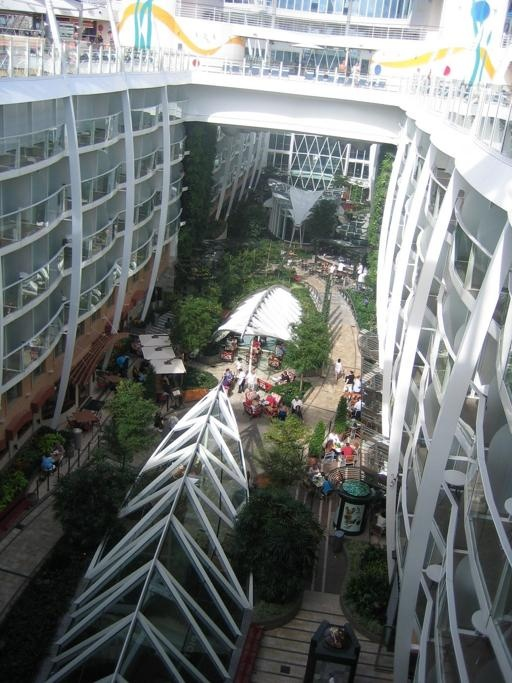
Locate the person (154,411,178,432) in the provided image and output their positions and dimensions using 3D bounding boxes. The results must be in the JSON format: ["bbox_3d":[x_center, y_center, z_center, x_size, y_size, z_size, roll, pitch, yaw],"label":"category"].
[{"bbox_3d":[-4.565,3.818,25.712,1.136,0.316,1.075,10,32,20],"label":"person"}]

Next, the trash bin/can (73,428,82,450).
[{"bbox_3d":[-7.804,4.250,22.764,0.294,0.855,0.543,-2,21,-25],"label":"trash bin/can"}]

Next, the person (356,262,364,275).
[{"bbox_3d":[10.030,-7.093,50.547,0.809,1.166,1.079,3,11,2],"label":"person"}]

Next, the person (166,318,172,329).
[{"bbox_3d":[-6.209,-1.309,36.577,0.374,0.746,0.501,0,-11,12],"label":"person"}]

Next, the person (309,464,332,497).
[{"bbox_3d":[2.702,5.751,22.056,1.034,0.660,1.735,10,20,7],"label":"person"}]

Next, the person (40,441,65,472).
[{"bbox_3d":[-8.258,4.658,21.137,0.397,0.478,1.247,6,24,-4],"label":"person"}]
